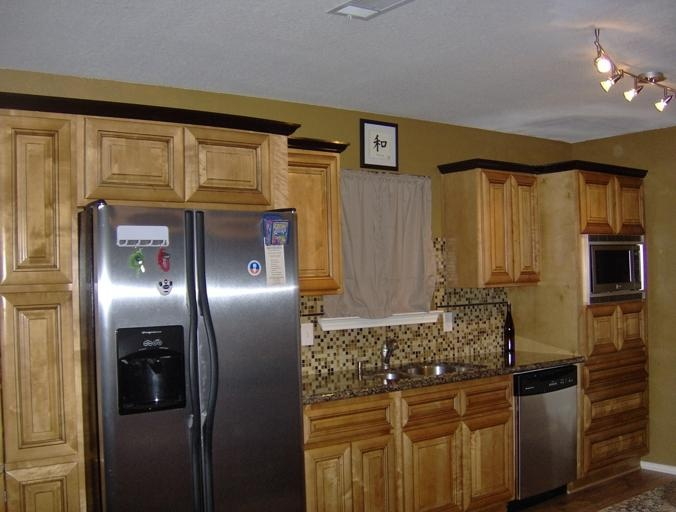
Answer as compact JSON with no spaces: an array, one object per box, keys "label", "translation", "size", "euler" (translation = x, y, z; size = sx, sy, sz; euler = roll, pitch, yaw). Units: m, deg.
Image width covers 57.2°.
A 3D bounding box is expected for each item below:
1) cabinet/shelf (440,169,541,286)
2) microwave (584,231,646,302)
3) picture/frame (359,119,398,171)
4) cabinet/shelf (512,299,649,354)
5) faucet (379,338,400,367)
[{"label":"cabinet/shelf","translation":[1.240,-0.230,5.176],"size":[0.933,1.104,0.551],"euler":[2,-4,-37]},{"label":"microwave","translation":[2.392,0.095,5.388],"size":[0.601,0.539,0.306],"euler":[1,-5,-33]},{"label":"picture/frame","translation":[0.311,-0.881,4.964],"size":[0.429,0.459,0.031],"euler":[1,-4,-31]},{"label":"cabinet/shelf","translation":[2.205,0.603,5.494],"size":[1.120,0.495,0.493],"euler":[-5,-1,-9]},{"label":"faucet","translation":[0.421,0.770,4.918],"size":[0.114,0.229,0.228],"euler":[-5,-1,31]}]
